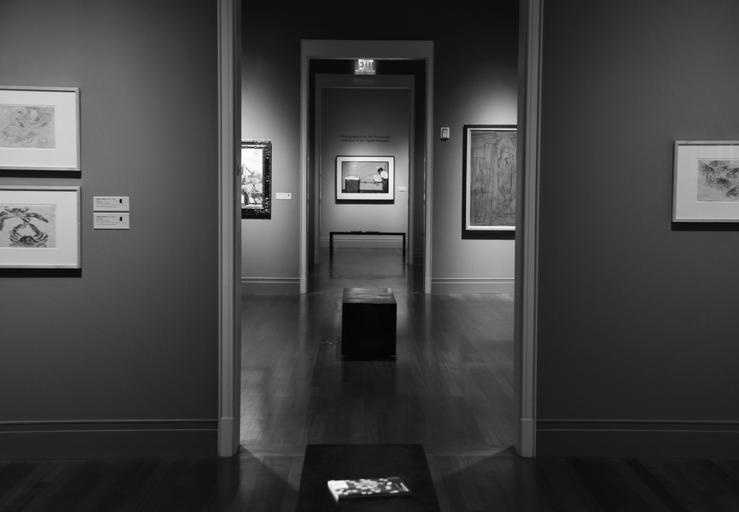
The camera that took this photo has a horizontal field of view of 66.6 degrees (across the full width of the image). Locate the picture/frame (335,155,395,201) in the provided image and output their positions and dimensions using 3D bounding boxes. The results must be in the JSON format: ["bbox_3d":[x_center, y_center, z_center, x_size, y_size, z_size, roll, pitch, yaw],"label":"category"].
[{"bbox_3d":[-0.134,-2.367,16.631,1.326,1.039,0.046,0,5,1],"label":"picture/frame"}]
